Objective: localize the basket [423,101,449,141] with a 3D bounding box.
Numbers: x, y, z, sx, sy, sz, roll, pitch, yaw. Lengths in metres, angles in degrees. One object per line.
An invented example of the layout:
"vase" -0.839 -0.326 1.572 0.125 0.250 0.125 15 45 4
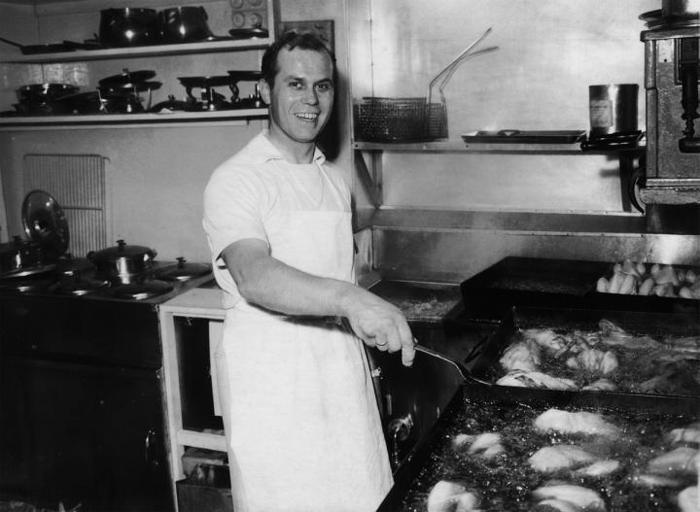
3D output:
"basket" 0.455 -0.730 3.410 0.141 0.213 0.143 -6 12 -24

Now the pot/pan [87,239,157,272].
"pot/pan" -1.188 0.002 3.348 0.230 0.101 0.204 -1 2 1

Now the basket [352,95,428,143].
"basket" 0.212 -0.669 3.321 0.285 0.181 0.292 0 8 4
